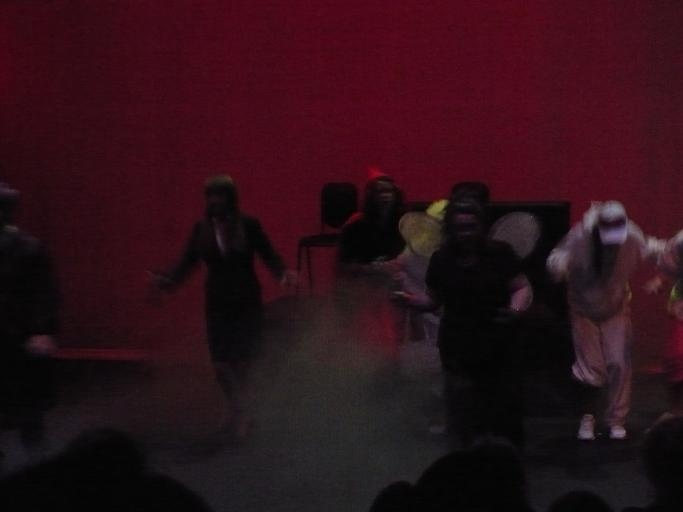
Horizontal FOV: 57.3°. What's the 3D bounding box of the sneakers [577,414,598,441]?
[{"bbox_3d":[1.211,0.841,3.074,0.112,0.108,0.066,-5,13,-5],"label":"sneakers"}]
